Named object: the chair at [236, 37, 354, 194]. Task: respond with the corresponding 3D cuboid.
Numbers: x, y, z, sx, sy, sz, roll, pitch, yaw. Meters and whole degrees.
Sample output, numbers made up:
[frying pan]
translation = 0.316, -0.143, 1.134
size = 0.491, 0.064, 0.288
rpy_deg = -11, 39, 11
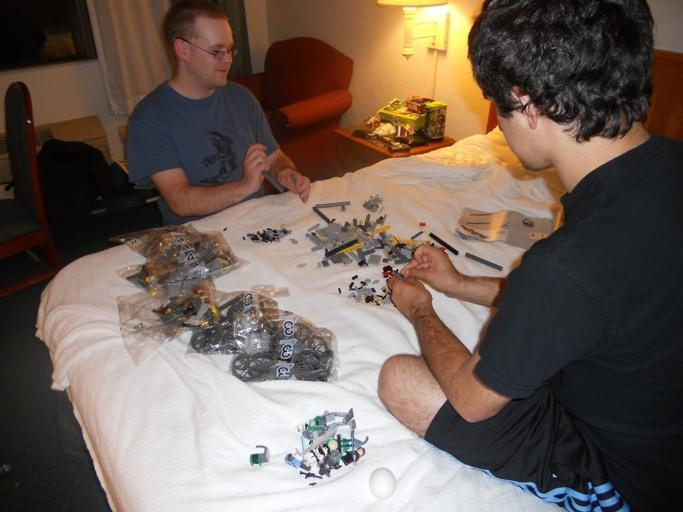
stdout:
[chair]
translation = -0.485, -1.179, 4.167
size = 0.701, 1.118, 1.006
rpy_deg = -22, 40, -36
